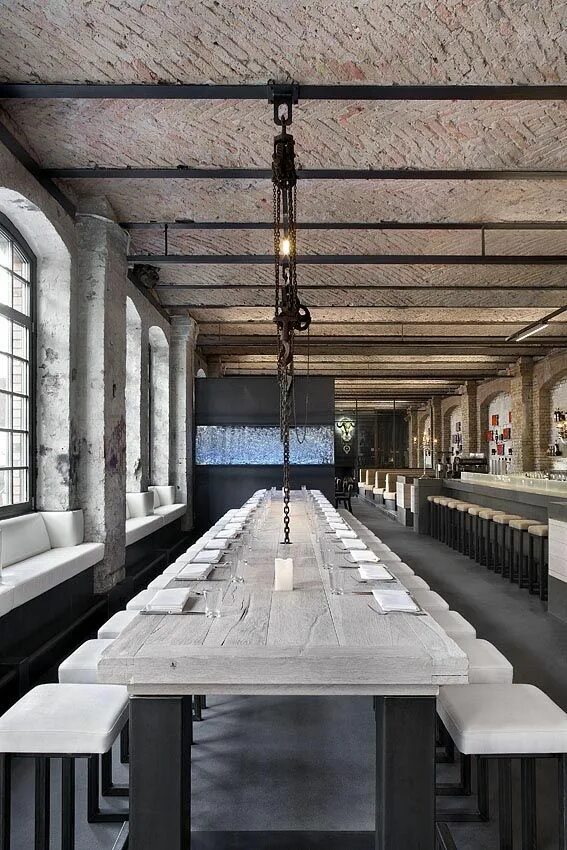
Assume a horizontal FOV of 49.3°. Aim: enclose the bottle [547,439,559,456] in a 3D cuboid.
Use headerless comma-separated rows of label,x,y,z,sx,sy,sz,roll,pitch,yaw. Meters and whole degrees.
bottle,5.354,0.402,12.272,0.173,0.376,0.358,3,-4,5
